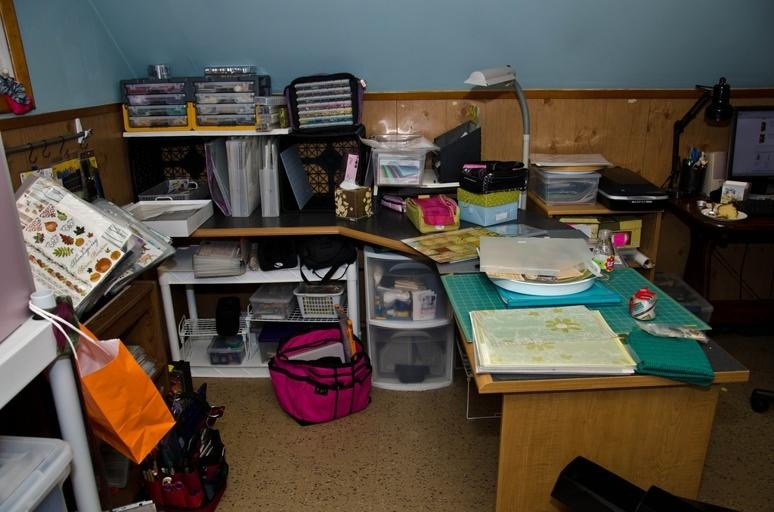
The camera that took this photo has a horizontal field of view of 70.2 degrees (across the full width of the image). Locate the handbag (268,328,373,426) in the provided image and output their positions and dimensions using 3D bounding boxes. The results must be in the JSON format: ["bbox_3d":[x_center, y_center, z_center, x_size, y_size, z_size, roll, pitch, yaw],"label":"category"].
[{"bbox_3d":[-0.370,0.630,3.083,0.563,0.391,0.513,-5,14,-21],"label":"handbag"}]

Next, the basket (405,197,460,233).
[{"bbox_3d":[0.244,-0.244,2.968,0.187,0.090,0.256,-1,19,-6],"label":"basket"}]

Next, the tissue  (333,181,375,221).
[{"bbox_3d":[-0.189,-0.307,3.132,0.206,0.198,0.200,5,8,31],"label":"tissue "}]

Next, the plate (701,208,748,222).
[{"bbox_3d":[1.931,-0.232,3.201,0.121,0.021,0.121,-19,26,-35],"label":"plate"}]

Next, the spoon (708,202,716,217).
[{"bbox_3d":[1.915,-0.275,3.293,0.041,0.048,0.133,4,33,21],"label":"spoon"}]

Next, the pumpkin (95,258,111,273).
[{"bbox_3d":[-1.026,0.032,1.994,0.048,0.047,0.047,-11,38,-12],"label":"pumpkin"}]

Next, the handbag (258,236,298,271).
[{"bbox_3d":[-0.641,-0.020,3.186,0.183,0.084,0.216,-7,56,-5],"label":"handbag"}]

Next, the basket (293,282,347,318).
[{"bbox_3d":[-0.404,0.256,3.335,0.276,0.139,0.196,1,15,11],"label":"basket"}]
